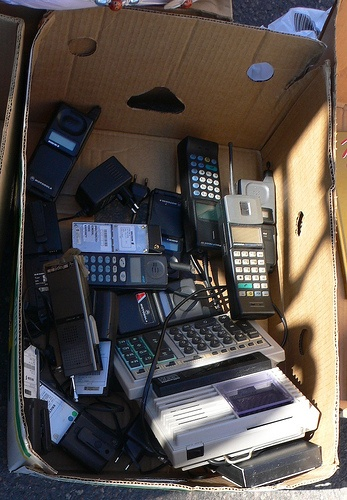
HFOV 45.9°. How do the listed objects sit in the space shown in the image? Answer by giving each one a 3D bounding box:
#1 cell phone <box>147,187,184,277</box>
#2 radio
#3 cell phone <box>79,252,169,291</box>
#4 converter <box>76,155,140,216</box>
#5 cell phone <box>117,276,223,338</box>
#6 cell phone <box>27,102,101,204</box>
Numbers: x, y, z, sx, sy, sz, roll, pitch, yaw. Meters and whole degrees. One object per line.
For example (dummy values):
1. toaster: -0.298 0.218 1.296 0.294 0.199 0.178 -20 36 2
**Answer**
1. cell phone: -0.014 -0.031 0.748 0.072 0.151 0.036 -2 -13 -14
2. radio: -0.135 0.083 0.545 0.051 0.134 0.095 -7 21 -21
3. cell phone: -0.062 0.023 0.637 0.167 0.053 0.018 2 -20 -22
4. converter: -0.121 -0.110 0.724 0.098 0.053 0.052 -44 -3 -34
5. cell phone: -0.006 0.082 0.661 0.165 0.070 0.032 -7 -24 -26
6. cell phone: -0.183 -0.160 0.734 0.141 0.144 0.207 2 36 -13
